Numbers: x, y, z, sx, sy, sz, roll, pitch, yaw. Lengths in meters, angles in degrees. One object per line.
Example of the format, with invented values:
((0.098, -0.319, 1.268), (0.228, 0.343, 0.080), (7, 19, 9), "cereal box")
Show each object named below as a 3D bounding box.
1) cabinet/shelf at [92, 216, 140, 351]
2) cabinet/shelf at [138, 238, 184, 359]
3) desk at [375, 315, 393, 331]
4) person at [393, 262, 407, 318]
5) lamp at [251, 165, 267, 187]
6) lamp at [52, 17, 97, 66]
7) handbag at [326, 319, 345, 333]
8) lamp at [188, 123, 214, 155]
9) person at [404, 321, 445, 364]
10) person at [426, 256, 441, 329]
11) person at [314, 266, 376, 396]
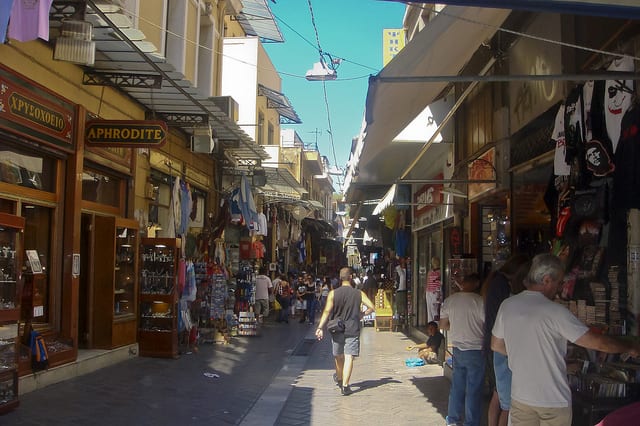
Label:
((-4.363, 1.438, 12.961), (0.571, 2.755, 1.040), (0, -1, 12), "cabinet/shelf")
((-3.518, 1.839, 13.550), (0.979, 2.539, 0.648), (2, 0, 14), "cabinet/shelf")
((1.915, 3.345, 18.462), (0.510, 0.428, 0.397), (0, -12, 2), "desk")
((2.398, 2.294, 18.280), (0.350, 1.762, 0.492), (1, -1, -19), "person")
((-2.032, -1.187, 20.361), (0.489, 0.728, 0.719), (0, 1, 2), "lamp")
((-4.096, -2.880, 10.439), (0.654, 0.767, 0.687), (6, 8, -14), "lamp")
((0.270, 1.951, 10.770), (0.279, 0.301, 0.226), (-3, -1, 20), "handbag")
((-2.757, -1.767, 14.805), (0.561, 0.891, 0.663), (1, -5, -4), "lamp")
((2.203, 2.623, 12.300), (0.503, 0.907, 0.698), (0, -2, 9), "person")
((2.705, 1.843, 14.645), (0.324, 1.554, 0.907), (0, -2, 11), "person")
((0.428, 1.995, 10.719), (0.932, 2.070, 1.188), (0, -2, 0), "person")
